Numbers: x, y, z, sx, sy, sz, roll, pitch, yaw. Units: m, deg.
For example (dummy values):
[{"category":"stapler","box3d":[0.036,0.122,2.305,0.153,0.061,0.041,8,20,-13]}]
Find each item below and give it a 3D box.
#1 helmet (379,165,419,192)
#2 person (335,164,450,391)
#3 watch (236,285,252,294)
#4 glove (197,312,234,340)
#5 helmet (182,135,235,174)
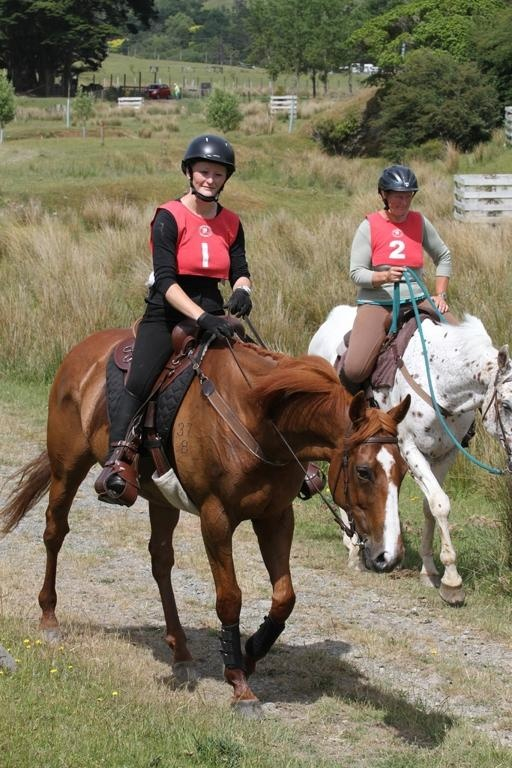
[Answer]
[{"category":"helmet","box3d":[1.130,-1.678,6.517,0.242,0.159,0.325,-1,6,-11]},{"category":"person","box3d":[1.186,-0.738,6.880,1.268,2.163,1.003,-6,16,-4]},{"category":"watch","box3d":[-0.063,-0.523,4.592,0.067,0.059,0.050,33,22,-22]},{"category":"glove","box3d":[-0.200,-0.300,4.152,0.168,0.068,0.128,27,4,43]},{"category":"helmet","box3d":[-0.258,-1.249,4.452,0.230,0.204,0.285,4,7,-10]}]
